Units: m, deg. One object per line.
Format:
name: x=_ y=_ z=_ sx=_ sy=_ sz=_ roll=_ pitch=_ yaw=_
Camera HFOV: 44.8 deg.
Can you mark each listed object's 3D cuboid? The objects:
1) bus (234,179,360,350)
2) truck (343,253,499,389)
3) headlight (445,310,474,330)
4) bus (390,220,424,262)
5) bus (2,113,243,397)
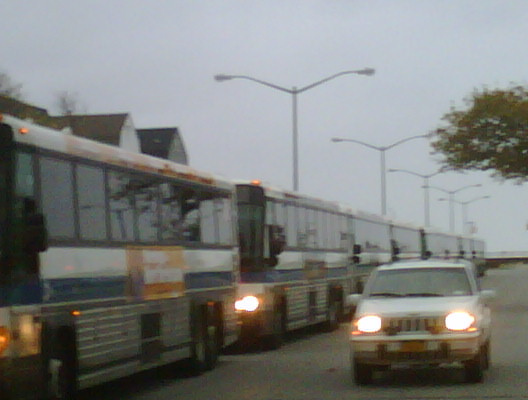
bus: x=0.782 y=1.812 z=18.122 sx=2.254 sy=4.185 sz=7.578 roll=-1 pitch=-5 yaw=26
truck: x=2.535 y=1.844 z=10.438 sx=1.400 sy=1.361 sz=2.666 roll=-3 pitch=-12 yaw=10
headlight: x=2.816 y=1.735 z=9.205 sx=0.428 sy=0.254 sz=0.124 roll=1 pitch=-5 yaw=-22
bus: x=7.235 y=2.117 z=31.998 sx=0.640 sy=1.527 sz=5.869 roll=-7 pitch=-1 yaw=-1
bus: x=-2.721 y=1.023 z=10.494 sx=2.067 sy=3.074 sz=6.191 roll=-3 pitch=-3 yaw=22
